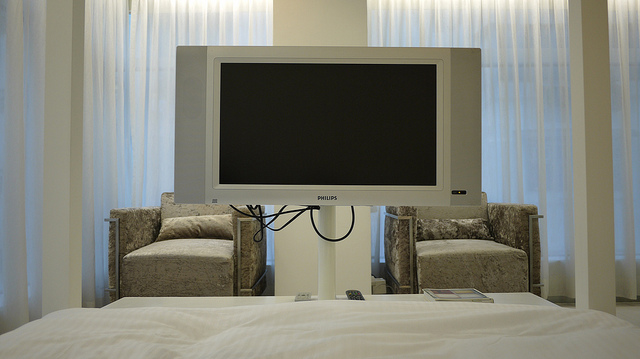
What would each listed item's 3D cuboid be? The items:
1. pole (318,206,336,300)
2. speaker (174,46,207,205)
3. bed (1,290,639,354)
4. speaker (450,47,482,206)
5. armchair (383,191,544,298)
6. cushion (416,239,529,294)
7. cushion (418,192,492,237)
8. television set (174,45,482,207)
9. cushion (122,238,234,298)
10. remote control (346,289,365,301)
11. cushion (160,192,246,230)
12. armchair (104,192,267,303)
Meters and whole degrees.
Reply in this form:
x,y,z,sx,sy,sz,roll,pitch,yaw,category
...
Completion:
x,y,z,sx,sy,sz,roll,pitch,yaw,category
0.053,0.555,4.569,0.125,0.700,0.230,1,-1,-1,pole
-0.990,-0.435,4.635,0.276,1.296,0.145,-2,-8,6,speaker
0.062,1.021,4.059,4.141,0.327,0.700,1,-1,-8,bed
1.120,-0.401,4.636,0.267,1.282,0.141,0,-13,16,speaker
1.527,0.729,6.399,1.238,1.075,1.237,0,-7,2,armchair
1.479,0.853,5.778,0.693,0.428,0.688,1,-3,-5,cushion
1.488,0.354,6.511,0.733,0.489,0.391,0,-4,1,cushion
0.056,-0.403,4.624,2.247,1.233,0.160,0,-6,0,television set
-1.378,0.867,5.729,0.672,0.454,0.665,0,-3,-5,cushion
0.267,0.870,4.499,0.139,0.051,0.098,0,-1,9,remote control
-1.409,0.349,6.272,0.734,0.393,0.491,1,12,0,cushion
-1.371,0.748,6.354,1.338,1.226,1.319,0,-8,-6,armchair
